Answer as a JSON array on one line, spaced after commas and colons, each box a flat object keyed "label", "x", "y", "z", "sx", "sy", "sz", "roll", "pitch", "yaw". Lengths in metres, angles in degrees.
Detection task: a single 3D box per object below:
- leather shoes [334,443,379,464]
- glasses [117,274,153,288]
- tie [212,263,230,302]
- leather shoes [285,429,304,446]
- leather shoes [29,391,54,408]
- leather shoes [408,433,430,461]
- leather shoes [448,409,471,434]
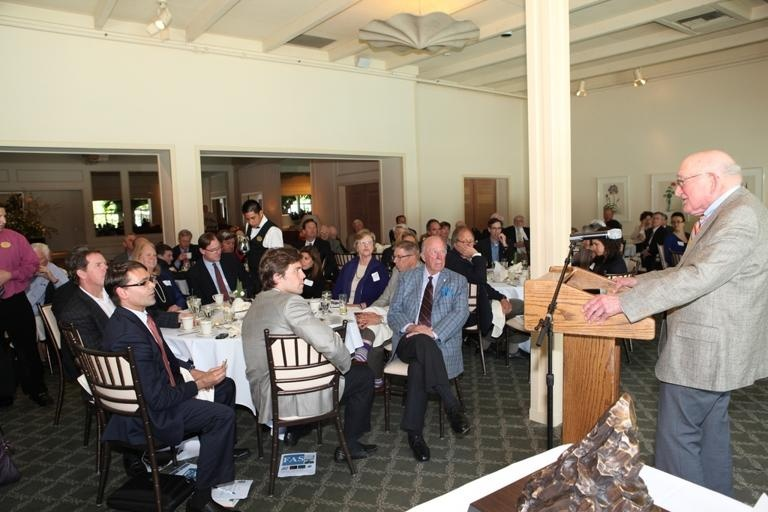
[{"label": "leather shoes", "x": -0.227, "y": 1.648, "z": 4.294, "sx": 0.418, "sy": 0.164, "sz": 0.137, "roll": -4, "pitch": 0, "yaw": -15}, {"label": "glasses", "x": -1.817, "y": 0.190, "z": 3.748, "sx": 0.242, "sy": 0.065, "sz": 0.078, "roll": -13, "pitch": 16, "yaw": -43}, {"label": "tie", "x": -1.904, "y": 0.302, "z": 6.014, "sx": 0.114, "sy": 0.420, "sz": 0.297, "roll": -26, "pitch": 14, "yaw": -39}, {"label": "leather shoes", "x": -0.819, "y": 1.609, "z": 4.517, "sx": 0.069, "sy": 0.064, "sz": 0.151, "roll": 2, "pitch": 7, "yaw": 20}, {"label": "leather shoes", "x": -3.653, "y": 1.533, "z": 5.433, "sx": 0.314, "sy": 0.113, "sz": 0.112, "roll": 4, "pitch": 4, "yaw": 27}, {"label": "leather shoes", "x": 0.287, "y": 1.600, "z": 4.266, "sx": 0.101, "sy": 0.116, "sz": 0.274, "roll": -2, "pitch": 1, "yaw": -11}, {"label": "leather shoes", "x": 0.675, "y": 1.499, "z": 4.590, "sx": 0.119, "sy": 0.109, "sz": 0.276, "roll": -5, "pitch": -4, "yaw": -13}]
